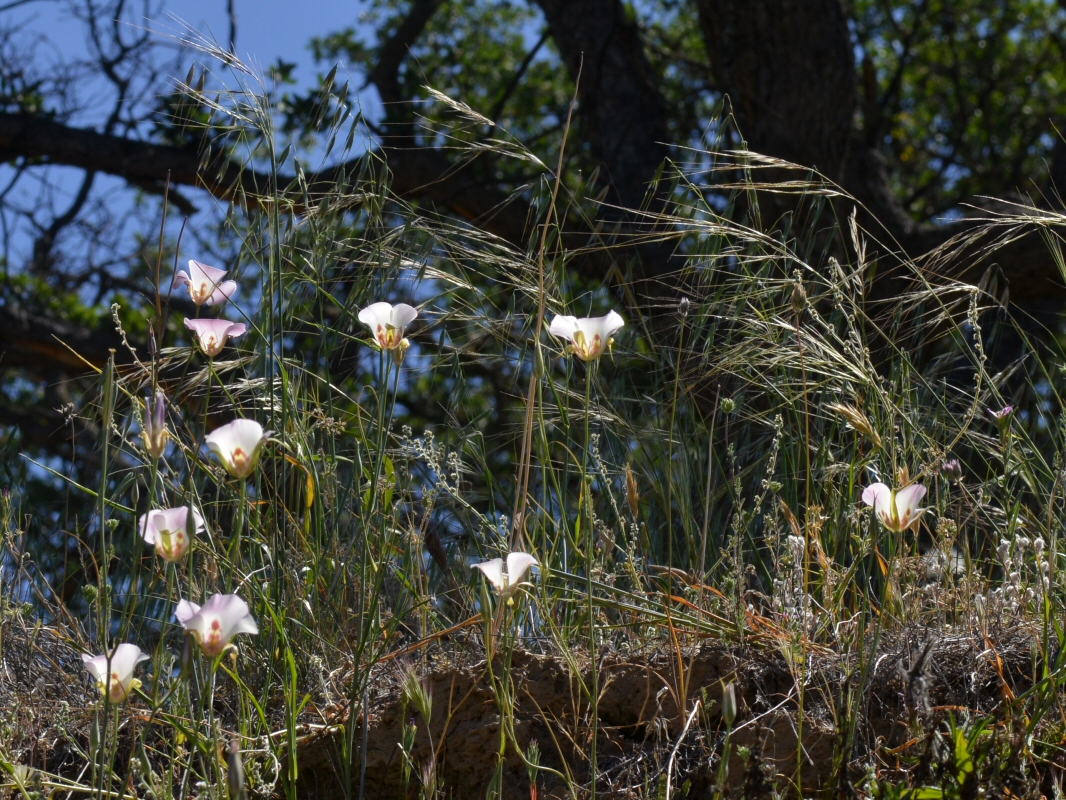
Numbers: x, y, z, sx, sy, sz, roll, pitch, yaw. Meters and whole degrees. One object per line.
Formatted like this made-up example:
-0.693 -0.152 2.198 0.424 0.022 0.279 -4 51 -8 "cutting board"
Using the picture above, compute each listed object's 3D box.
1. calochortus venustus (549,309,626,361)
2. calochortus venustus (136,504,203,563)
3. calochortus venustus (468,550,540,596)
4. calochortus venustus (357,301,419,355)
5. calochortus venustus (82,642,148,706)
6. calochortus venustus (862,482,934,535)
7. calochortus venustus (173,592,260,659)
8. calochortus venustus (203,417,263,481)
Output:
0.160 -0.169 4.788 0.187 0.147 0.246 -2 -6 1 "calochortus venustus"
-0.951 0.334 4.456 0.129 0.130 0.161 -4 -18 -1 "calochortus venustus"
-0.069 0.454 4.489 0.171 0.143 0.143 1 -25 -11 "calochortus venustus"
-0.405 -0.181 4.703 0.101 0.116 0.126 18 -20 -3 "calochortus venustus"
-1.094 0.726 4.436 0.141 0.165 0.166 -12 -27 8 "calochortus venustus"
0.971 0.308 4.518 0.166 0.138 0.207 -9 7 16 "calochortus venustus"
-0.815 0.592 4.316 0.202 0.126 0.211 12 15 19 "calochortus venustus"
-0.780 0.121 4.458 0.159 0.164 0.160 0 -24 -7 "calochortus venustus"
